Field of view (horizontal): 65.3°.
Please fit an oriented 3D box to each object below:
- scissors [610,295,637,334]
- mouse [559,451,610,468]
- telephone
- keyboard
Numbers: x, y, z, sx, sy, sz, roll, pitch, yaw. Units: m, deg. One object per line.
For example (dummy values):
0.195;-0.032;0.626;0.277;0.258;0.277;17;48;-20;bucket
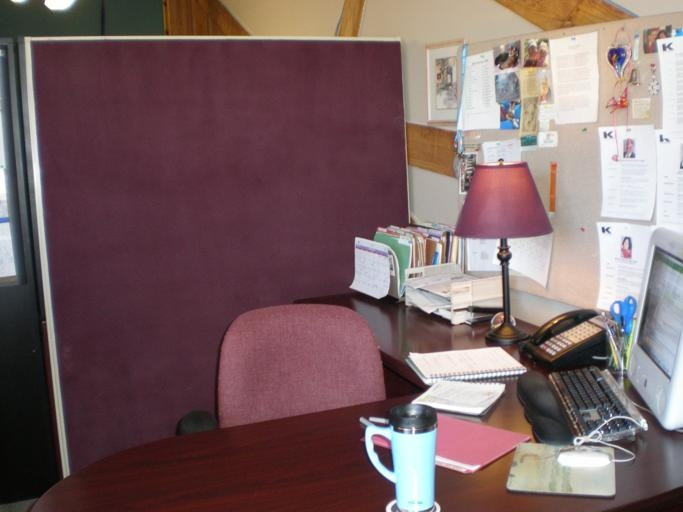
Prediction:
0.959;0.202;1.814;0.022;0.117;0.086;19;-23;-22;scissors
0.572;0.480;1.260;0.115;0.031;0.027;0;12;10;mouse
0.809;0.287;1.864;0.264;0.154;0.214;-9;7;-3;telephone
0.666;0.412;1.515;0.267;0.089;0.376;-22;8;13;keyboard
